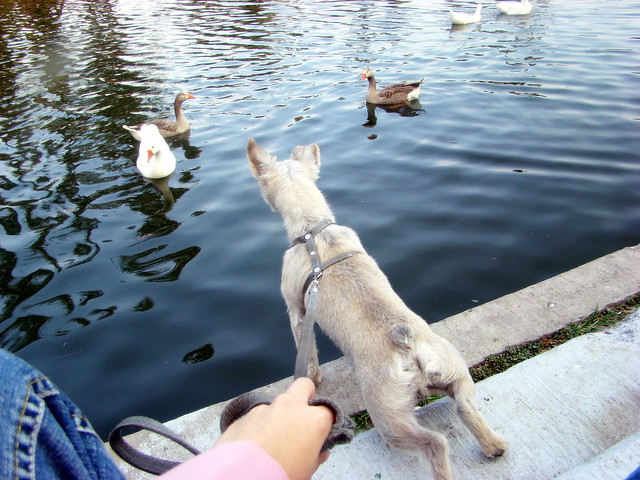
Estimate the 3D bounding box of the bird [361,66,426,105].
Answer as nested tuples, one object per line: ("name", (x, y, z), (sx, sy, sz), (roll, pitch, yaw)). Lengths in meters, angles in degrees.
("bird", (1.722, -3.744, 11.831), (1.891, 0.969, 0.577), (-18, 45, -19))
